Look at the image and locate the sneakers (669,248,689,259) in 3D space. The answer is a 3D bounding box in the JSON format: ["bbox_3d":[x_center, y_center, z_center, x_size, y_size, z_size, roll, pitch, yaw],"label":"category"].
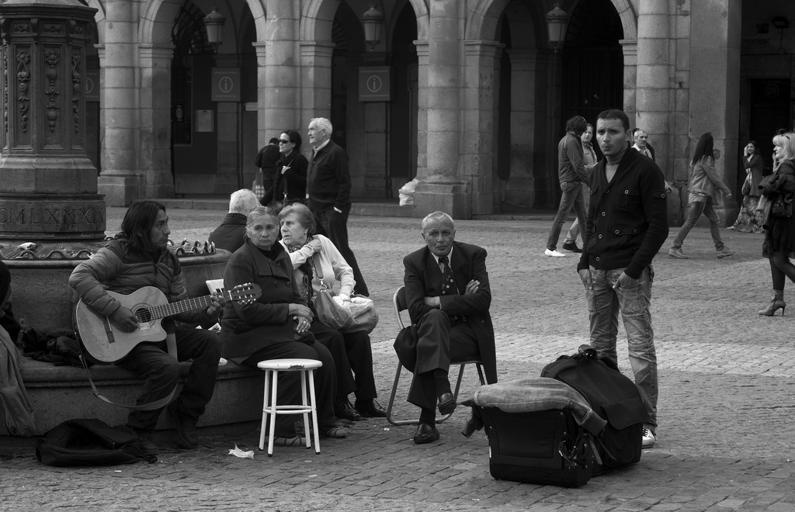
[{"bbox_3d":[4.594,-0.046,19.254,0.386,0.179,0.130,4,47,1],"label":"sneakers"}]

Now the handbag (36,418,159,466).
[{"bbox_3d":[-2.367,1.474,9.111,0.625,0.190,0.462,0,0,-7],"label":"handbag"}]

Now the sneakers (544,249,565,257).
[{"bbox_3d":[2.633,-0.038,19.540,0.338,0.131,0.125,0,13,4],"label":"sneakers"}]

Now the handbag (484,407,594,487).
[{"bbox_3d":[1.035,1.417,8.627,0.643,0.406,0.646,0,3,28],"label":"handbag"}]

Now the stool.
[{"bbox_3d":[-0.855,1.229,9.553,0.615,0.672,0.635,-2,-3,35],"label":"stool"}]

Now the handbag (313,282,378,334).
[{"bbox_3d":[-0.452,0.475,10.259,0.492,0.215,0.373,18,3,37],"label":"handbag"}]

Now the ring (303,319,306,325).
[{"bbox_3d":[-0.764,0.555,9.804,0.032,0.029,0.008,14,-23,-23],"label":"ring"}]

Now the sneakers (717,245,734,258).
[{"bbox_3d":[5.438,-0.068,19.429,0.367,0.165,0.139,-9,22,-36],"label":"sneakers"}]
